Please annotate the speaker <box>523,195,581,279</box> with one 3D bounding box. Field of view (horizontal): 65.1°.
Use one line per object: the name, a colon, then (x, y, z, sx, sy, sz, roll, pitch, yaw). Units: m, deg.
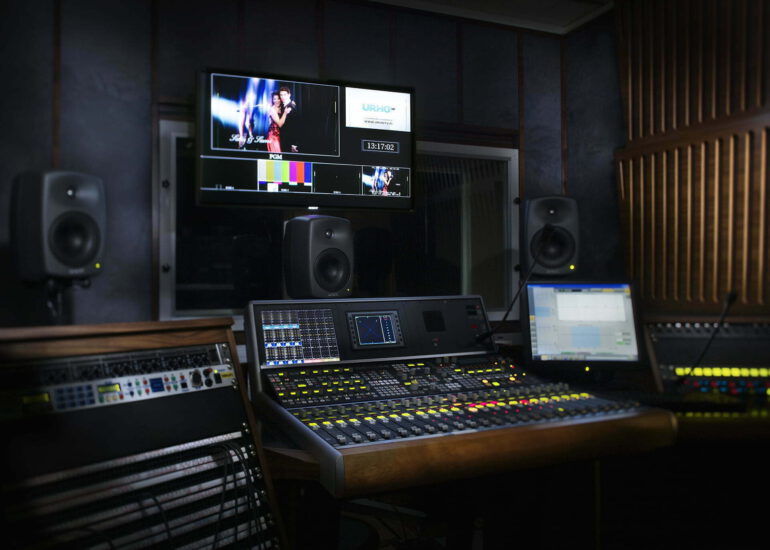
speaker: (0.916, -0.158, 3.279, 0.314, 0.480, 0.299, -5, -22, 27)
